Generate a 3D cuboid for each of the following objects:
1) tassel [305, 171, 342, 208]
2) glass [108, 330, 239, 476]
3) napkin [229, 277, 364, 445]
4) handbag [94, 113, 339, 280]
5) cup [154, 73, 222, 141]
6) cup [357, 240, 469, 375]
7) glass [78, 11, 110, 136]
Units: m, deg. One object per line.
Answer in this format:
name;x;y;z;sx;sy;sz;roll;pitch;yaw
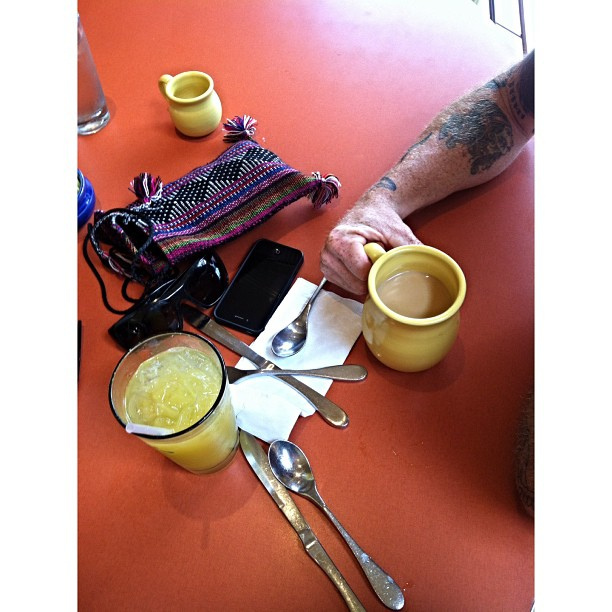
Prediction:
tassel;0.027;-0.189;0.908;0.059;0.031;0.055;-8;10;2
glass;-0.146;0.130;0.647;0.123;0.158;0.141;-28;52;-17
napkin;-0.015;0.068;0.737;0.129;0.034;0.247;31;58;12
handbag;-0.201;-0.213;0.990;0.067;0.322;0.271;33;88;-26
cup;-0.227;-0.374;1.009;0.133;0.094;0.089;30;60;22
cup;0.130;-0.002;0.694;0.113;0.125;0.166;-18;52;-10
glass;-0.403;-0.419;0.991;0.054;0.164;0.119;-1;54;-7
